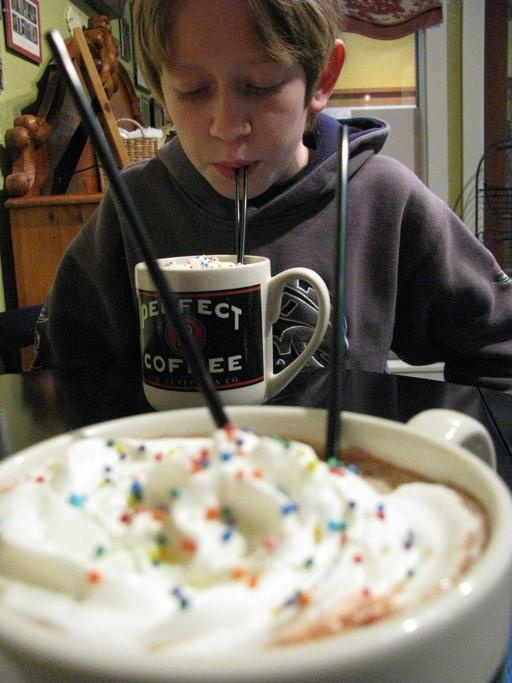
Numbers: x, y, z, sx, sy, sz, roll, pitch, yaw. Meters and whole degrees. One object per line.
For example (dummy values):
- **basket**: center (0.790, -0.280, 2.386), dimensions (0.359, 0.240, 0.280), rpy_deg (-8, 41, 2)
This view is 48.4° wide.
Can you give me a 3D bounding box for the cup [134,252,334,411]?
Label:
- **cup**: center (-0.045, -0.016, 0.620), dimensions (0.208, 0.151, 0.129), rpy_deg (-2, 5, -19)
